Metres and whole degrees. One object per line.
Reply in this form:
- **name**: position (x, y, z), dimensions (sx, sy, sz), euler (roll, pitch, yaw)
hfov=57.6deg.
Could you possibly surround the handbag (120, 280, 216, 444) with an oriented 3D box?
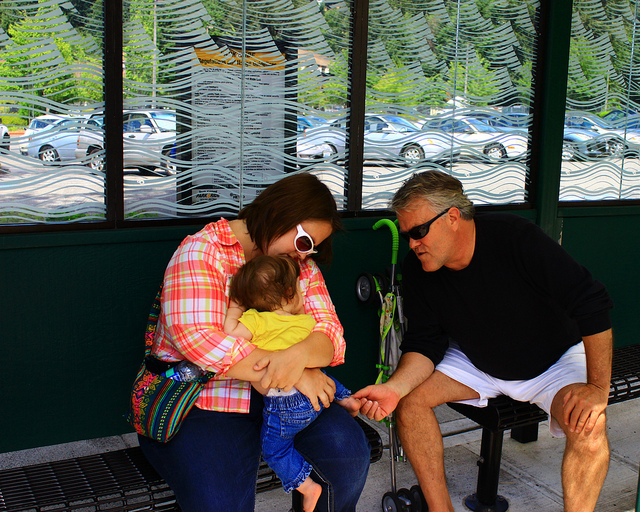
- **handbag**: position (-0.724, 0.477, 2.562), dimensions (0.488, 0.636, 0.445), euler (-8, 17, -37)

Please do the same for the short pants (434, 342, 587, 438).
- **short pants**: position (1.018, 0.652, 3.162), dimensions (0.773, 0.326, 0.309), euler (1, 9, 14)

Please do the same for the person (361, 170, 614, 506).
- **person**: position (0.900, 0.411, 3.002), dimensions (1.091, 1.672, 0.671), euler (2, 10, 18)

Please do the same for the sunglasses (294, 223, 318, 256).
- **sunglasses**: position (-0.074, -0.061, 2.588), dimensions (0.043, 0.108, 0.117), euler (-14, -31, 5)
